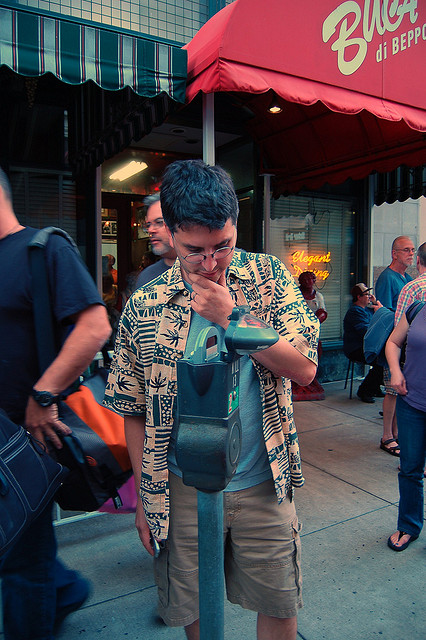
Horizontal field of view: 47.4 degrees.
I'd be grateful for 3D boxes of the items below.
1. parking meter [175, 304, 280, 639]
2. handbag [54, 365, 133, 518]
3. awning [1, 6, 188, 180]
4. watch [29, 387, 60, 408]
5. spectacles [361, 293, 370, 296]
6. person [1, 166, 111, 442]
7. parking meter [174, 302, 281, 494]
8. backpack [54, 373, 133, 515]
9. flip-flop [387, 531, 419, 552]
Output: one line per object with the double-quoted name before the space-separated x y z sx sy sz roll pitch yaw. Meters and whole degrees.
"parking meter" 0.020 0.324 0.976 0.183 0.699 0.164 -2 5 -16
"handbag" -0.492 0.505 2.141 0.252 0.519 0.415 0 13 24
"awning" -0.756 -1.855 3.859 1.084 0.700 2.031 0 4 -4
"watch" -0.601 0.277 1.720 0.072 0.047 0.080 13 -20 -1
"spectacles" 2.006 -0.334 6.439 0.049 0.024 0.066 -6 5 -40
"person" -0.630 -0.049 1.830 0.395 1.027 0.283 1 5 13
"parking meter" 0.024 0.167 0.967 0.195 0.383 0.155 0 5 -4
"backpack" -0.492 0.509 2.132 0.291 0.521 0.407 -3 11 26
"flip-flop" 1.169 1.362 2.993 0.228 0.085 0.079 7 -7 -40
